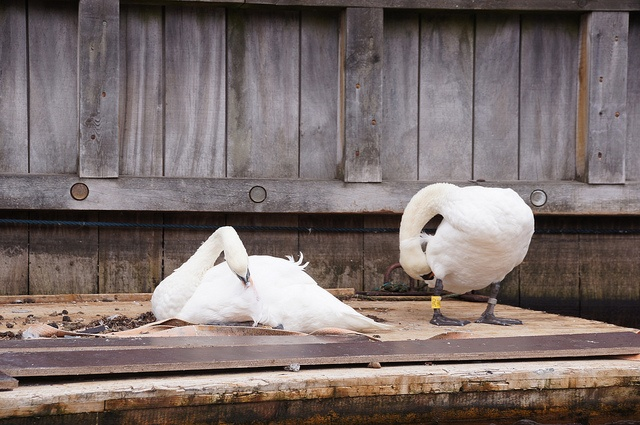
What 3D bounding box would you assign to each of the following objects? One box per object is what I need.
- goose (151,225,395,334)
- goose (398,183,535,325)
[{"bbox_3d":[-0.543,0.607,11.559,1.919,0.947,0.629,2,-8,-4],"label":"goose"},{"bbox_3d":[1.344,0.382,11.888,1.198,1.320,0.601,-5,-10,35],"label":"goose"}]
